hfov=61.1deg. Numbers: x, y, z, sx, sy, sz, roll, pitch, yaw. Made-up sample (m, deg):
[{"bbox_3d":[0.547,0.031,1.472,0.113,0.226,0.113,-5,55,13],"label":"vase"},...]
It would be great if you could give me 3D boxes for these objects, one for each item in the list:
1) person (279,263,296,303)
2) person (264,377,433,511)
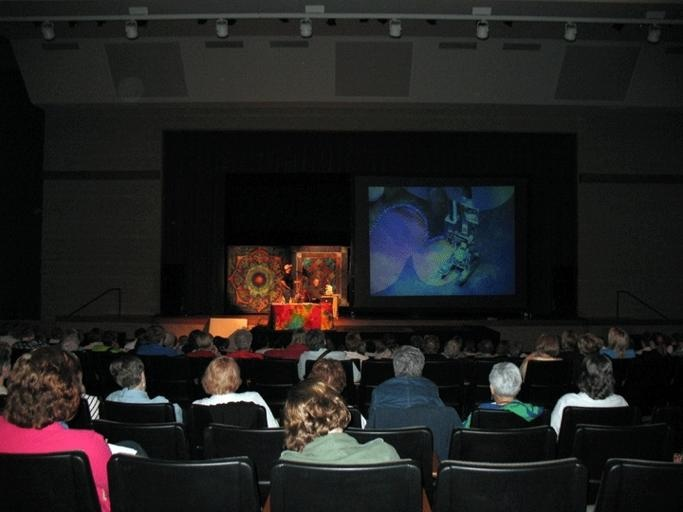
[{"bbox_3d":[-1.250,0.716,13.172,0.253,0.202,0.865,-17,-31,-17],"label":"person"},{"bbox_3d":[0.057,0.845,3.133,0.670,0.853,0.684,1,2,4],"label":"person"}]
